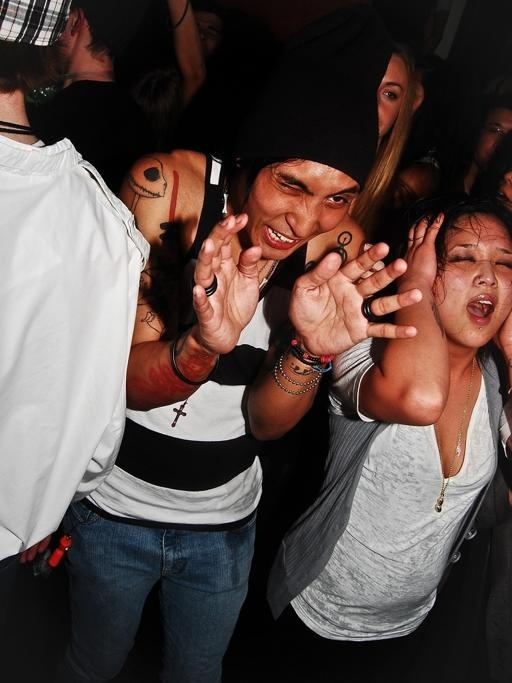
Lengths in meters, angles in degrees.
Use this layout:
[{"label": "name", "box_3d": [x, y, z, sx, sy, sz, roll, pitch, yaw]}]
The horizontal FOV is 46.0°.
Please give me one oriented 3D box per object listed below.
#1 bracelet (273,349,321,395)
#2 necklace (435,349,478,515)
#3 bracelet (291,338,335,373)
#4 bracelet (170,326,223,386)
[{"label": "bracelet", "box_3d": [0.096, 0.072, 1.533, 0.103, 0.042, 0.110, 2, 98, -4]}, {"label": "necklace", "box_3d": [0.526, 0.252, 1.587, 0.027, 0.058, 0.481, 25, 80, -27]}, {"label": "bracelet", "box_3d": [0.137, 0.045, 1.455, 0.031, 0.089, 0.079, -52, 35, 1]}, {"label": "bracelet", "box_3d": [-0.153, 0.039, 1.418, 0.118, 0.038, 0.117, 8, 90, -6]}]
